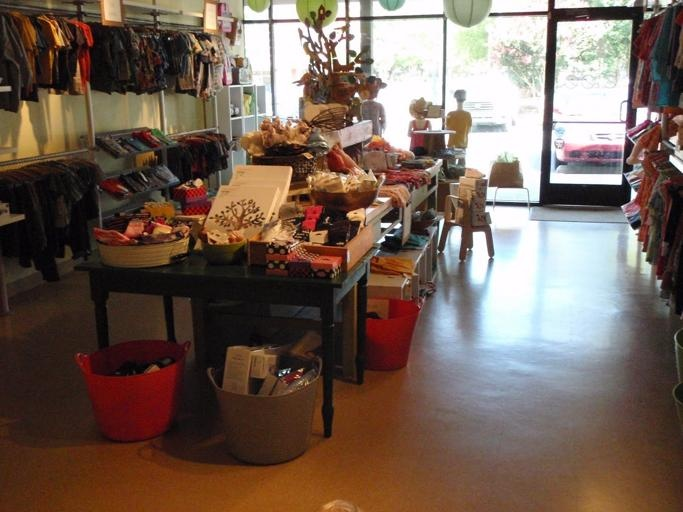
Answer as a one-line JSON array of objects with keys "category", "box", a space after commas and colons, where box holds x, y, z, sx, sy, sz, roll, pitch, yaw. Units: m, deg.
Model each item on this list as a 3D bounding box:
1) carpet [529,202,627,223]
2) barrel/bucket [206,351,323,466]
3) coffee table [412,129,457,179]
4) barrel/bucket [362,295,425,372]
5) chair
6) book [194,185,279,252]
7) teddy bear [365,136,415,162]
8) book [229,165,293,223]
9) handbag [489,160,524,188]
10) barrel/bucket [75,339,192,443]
[{"category": "carpet", "box": [3.681, -0.679, 8.202, 1.340, 0.052, 1.286, 6, 19, 19]}, {"category": "barrel/bucket", "box": [-0.394, 0.851, 2.883, 0.586, 0.444, 0.547, -2, 1, 0]}, {"category": "coffee table", "box": [1.113, -1.333, 6.763, 0.560, 0.547, 0.565, -11, 17, -31]}, {"category": "barrel/bucket", "box": [0.283, 0.566, 3.788, 0.519, 0.435, 0.559, -4, 2, 0]}, {"category": "chair", "box": [1.482, -0.354, 6.219, 0.621, 0.686, 0.623, 6, 15, 20]}, {"category": "book", "box": [-0.573, -0.246, 2.963, 0.374, 0.089, 0.370, 1, 57, 14]}, {"category": "teddy bear", "box": [0.484, -1.138, 5.504, 0.319, 0.138, 0.416, -8, 20, -30]}, {"category": "book", "box": [-0.453, -0.432, 3.106, 0.347, 0.338, 0.081, 3, -19, 16]}, {"category": "handbag", "box": [2.486, -1.222, 7.790, 0.417, 0.315, 0.424, 1, 17, 5]}, {"category": "barrel/bucket", "box": [-1.176, 0.762, 2.976, 0.592, 0.441, 0.562, 3, 10, -1]}]
